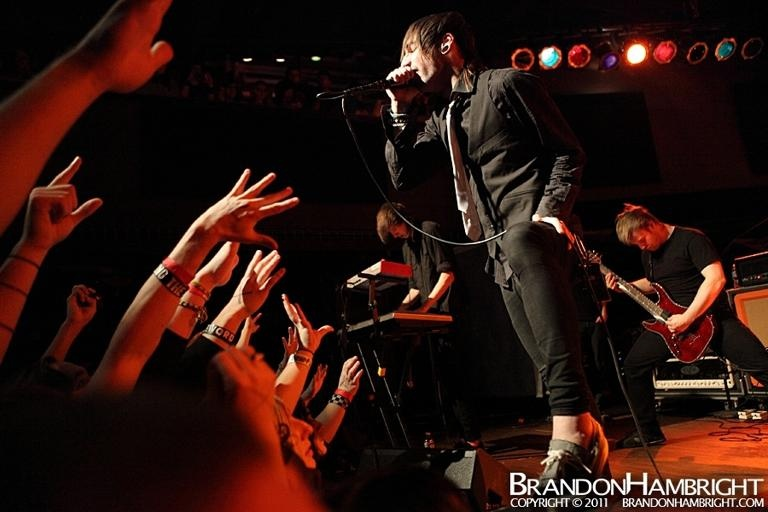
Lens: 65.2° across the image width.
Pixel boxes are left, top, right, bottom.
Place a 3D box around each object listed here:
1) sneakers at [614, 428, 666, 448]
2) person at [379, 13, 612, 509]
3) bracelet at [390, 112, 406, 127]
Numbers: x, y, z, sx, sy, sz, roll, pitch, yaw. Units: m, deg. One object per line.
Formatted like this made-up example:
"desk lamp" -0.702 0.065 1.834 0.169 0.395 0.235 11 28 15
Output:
"sneakers" 1.888 1.345 4.443 0.378 0.136 0.219 -1 -12 13
"person" 0.576 -0.103 3.235 1.057 2.613 0.471 -4 -13 26
"bracelet" 0.089 -0.799 3.577 0.082 0.043 0.090 3 8 -3
